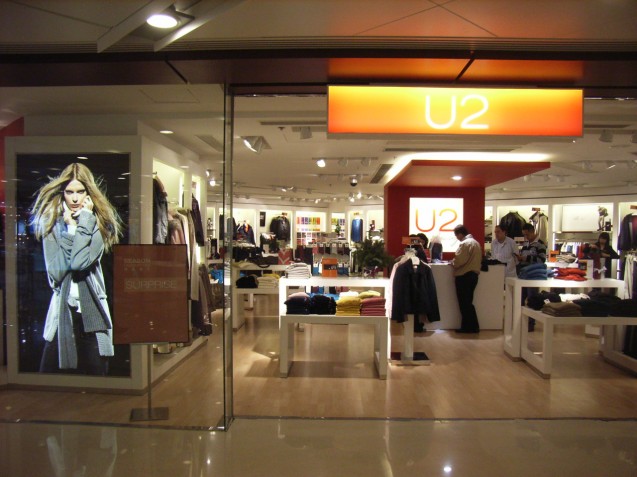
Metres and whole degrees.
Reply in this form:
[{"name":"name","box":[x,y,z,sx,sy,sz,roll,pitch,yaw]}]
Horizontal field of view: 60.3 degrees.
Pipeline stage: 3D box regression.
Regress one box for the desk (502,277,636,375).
[{"name":"desk","box":[3.144,1.083,7.101,1.423,1.102,0.799,4,13,18]}]

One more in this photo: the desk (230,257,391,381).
[{"name":"desk","box":[0.209,0.909,7.082,1.557,1.425,1.126,0,8,0]}]

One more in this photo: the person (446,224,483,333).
[{"name":"person","box":[2.349,0.649,8.745,0.488,1.631,0.576,3,13,13]}]

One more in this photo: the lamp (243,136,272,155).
[{"name":"lamp","box":[-0.878,-1.361,7.902,0.394,0.281,1.034,-1,13,-4]}]

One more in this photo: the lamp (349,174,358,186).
[{"name":"lamp","box":[0.688,-1.216,11.457,0.142,0.276,0.148,2,19,4]}]
